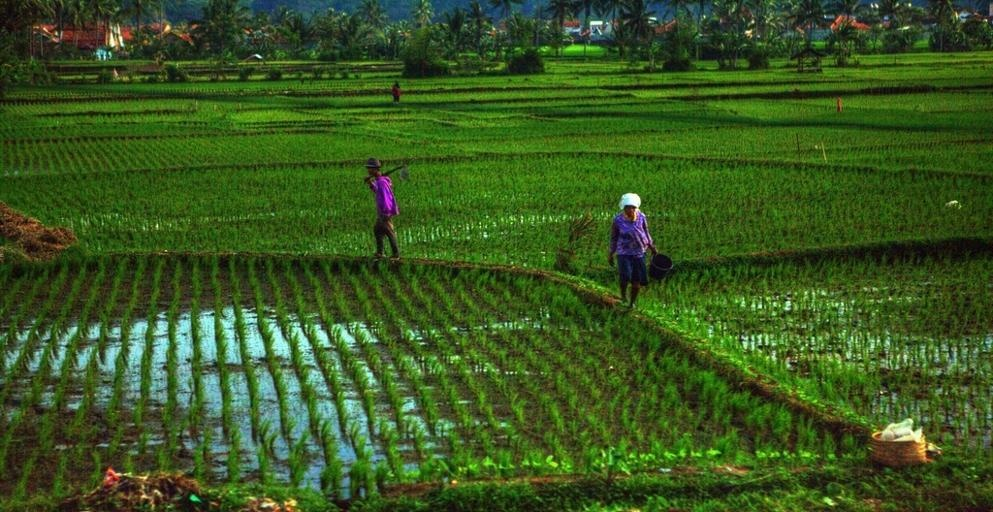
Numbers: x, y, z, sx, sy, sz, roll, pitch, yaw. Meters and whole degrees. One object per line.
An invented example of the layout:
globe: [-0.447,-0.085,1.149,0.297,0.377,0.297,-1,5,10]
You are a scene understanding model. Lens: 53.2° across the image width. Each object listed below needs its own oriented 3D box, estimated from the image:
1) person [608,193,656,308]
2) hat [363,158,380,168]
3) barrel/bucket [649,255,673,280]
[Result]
person: [2.889,-0.154,21.312,0.976,2.442,0.770,-6,19,-19]
hat: [-2.864,-2.195,22.998,0.253,0.206,0.350,-1,18,-4]
barrel/bucket: [3.552,0.194,21.422,0.542,0.525,0.397,7,-15,3]
